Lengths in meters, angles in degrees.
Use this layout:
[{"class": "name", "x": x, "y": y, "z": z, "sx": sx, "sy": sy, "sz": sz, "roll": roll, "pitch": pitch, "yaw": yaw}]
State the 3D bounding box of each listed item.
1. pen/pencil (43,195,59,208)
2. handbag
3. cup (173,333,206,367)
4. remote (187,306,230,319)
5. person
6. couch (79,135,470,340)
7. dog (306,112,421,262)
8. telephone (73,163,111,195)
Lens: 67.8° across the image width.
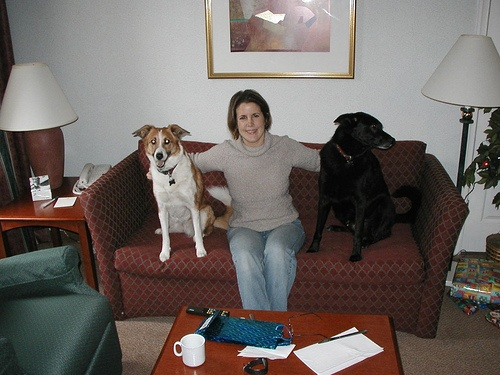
[{"class": "pen/pencil", "x": -1.526, "y": 0.108, "z": 2.839, "sx": 0.021, "sy": 0.023, "sz": 0.194, "roll": -2, "pitch": 21, "yaw": 16}, {"class": "handbag", "x": -0.037, "y": 0.693, "z": 1.797, "sx": 0.325, "sy": 0.073, "sz": 0.176, "roll": 2, "pitch": 10, "yaw": 11}, {"class": "cup", "x": -0.273, "y": 0.721, "z": 1.667, "sx": 0.137, "sy": 0.105, "sz": 0.113, "roll": 0, "pitch": 19, "yaw": 0}, {"class": "remote", "x": -0.207, "y": 0.648, "z": 1.946, "sx": 0.243, "sy": 0.038, "sz": 0.079, "roll": 3, "pitch": 25, "yaw": 4}, {"class": "person", "x": -0.001, "y": 0.162, "z": 2.716, "sx": 1.477, "sy": 1.626, "sz": 0.985, "roll": -2, "pitch": 17, "yaw": 11}, {"class": "couch", "x": 0.158, "y": 0.347, "z": 2.867, "sx": 2.503, "sy": 1.369, "sz": 0.987, "roll": 1, "pitch": 21, "yaw": 7}, {"class": "dog", "x": 0.899, "y": -0.034, "z": 2.836, "sx": 0.886, "sy": 1.050, "sz": 0.540, "roll": -8, "pitch": 15, "yaw": -37}, {"class": "telephone", "x": -1.329, "y": -0.094, "z": 3.100, "sx": 0.211, "sy": 0.075, "sz": 0.427, "roll": 2, "pitch": 32, "yaw": -2}]
